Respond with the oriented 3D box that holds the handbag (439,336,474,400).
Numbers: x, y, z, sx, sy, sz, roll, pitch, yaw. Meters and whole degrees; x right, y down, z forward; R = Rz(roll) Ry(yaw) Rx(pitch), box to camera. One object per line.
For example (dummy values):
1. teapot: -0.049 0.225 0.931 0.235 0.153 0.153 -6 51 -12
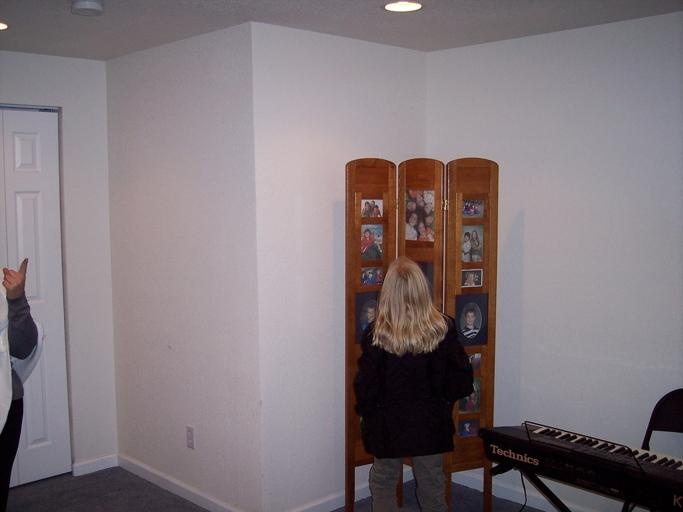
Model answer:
1. handbag: 0.700 0.692 3.393 0.115 0.345 0.236 7 -3 -30
